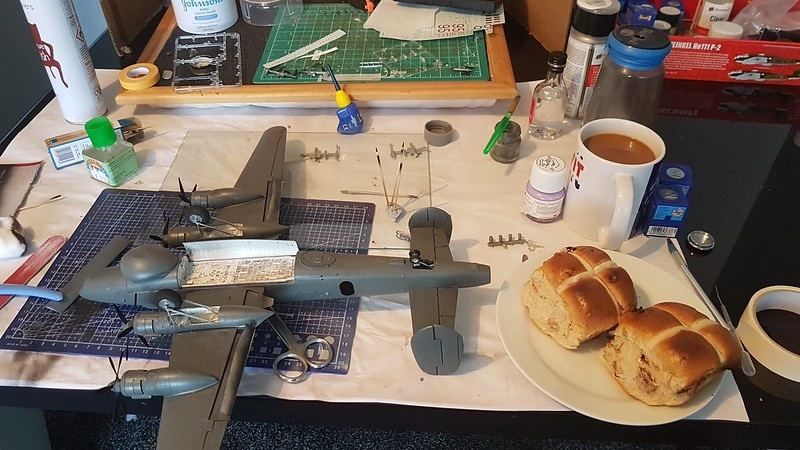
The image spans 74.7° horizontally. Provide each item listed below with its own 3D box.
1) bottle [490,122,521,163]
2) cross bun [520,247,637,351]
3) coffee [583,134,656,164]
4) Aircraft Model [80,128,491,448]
[{"bbox_3d":[0.418,-0.310,2.084,0.156,0.140,0.133,8,39,5],"label":"bottle"},{"bbox_3d":[0.515,0.241,1.562,0.319,0.100,0.263,-38,69,-17],"label":"cross bun"},{"bbox_3d":[0.734,-0.252,1.738,0.209,0.107,0.205,6,24,6],"label":"coffee"},{"bbox_3d":[-0.495,0.203,2.135,1.468,0.855,1.006,-16,47,-13],"label":"Aircraft Model"}]
